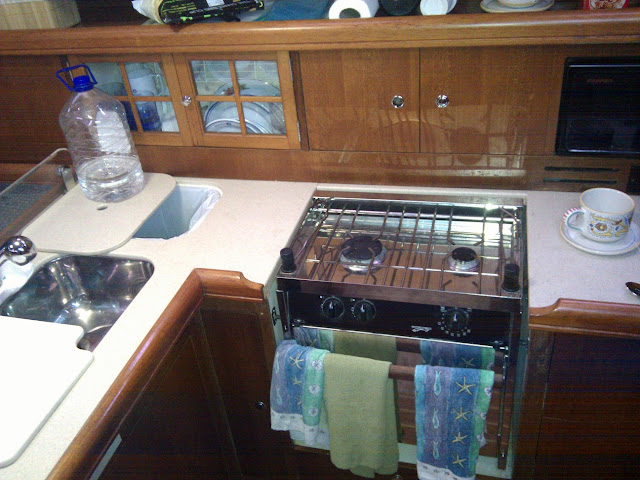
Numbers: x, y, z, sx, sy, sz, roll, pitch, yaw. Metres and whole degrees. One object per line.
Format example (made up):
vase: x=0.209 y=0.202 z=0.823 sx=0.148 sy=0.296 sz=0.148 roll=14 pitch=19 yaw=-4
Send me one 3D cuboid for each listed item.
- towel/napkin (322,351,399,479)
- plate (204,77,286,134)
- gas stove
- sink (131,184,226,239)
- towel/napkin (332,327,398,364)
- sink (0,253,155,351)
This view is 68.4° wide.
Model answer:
towel/napkin: x=0.124 y=0.566 z=1.405 sx=0.213 sy=0.547 sz=0.122 roll=0 pitch=34 yaw=8
plate: x=-0.280 y=-0.436 z=1.591 sx=0.241 sy=0.190 sz=0.050 roll=-3 pitch=38 yaw=17
gas stove: x=0.280 y=0.031 z=1.384 sx=0.770 sy=0.313 sz=0.452 roll=4 pitch=49 yaw=11
sink: x=-0.478 y=-0.104 z=1.722 sx=0.299 sy=0.200 sz=0.208 roll=3 pitch=61 yaw=10
towel/napkin: x=0.132 y=0.294 z=1.323 sx=0.141 sy=0.114 sz=0.018 roll=5 pitch=39 yaw=12
sink: x=-0.706 y=0.154 z=1.406 sx=0.293 sy=0.119 sz=0.317 roll=15 pitch=48 yaw=10
